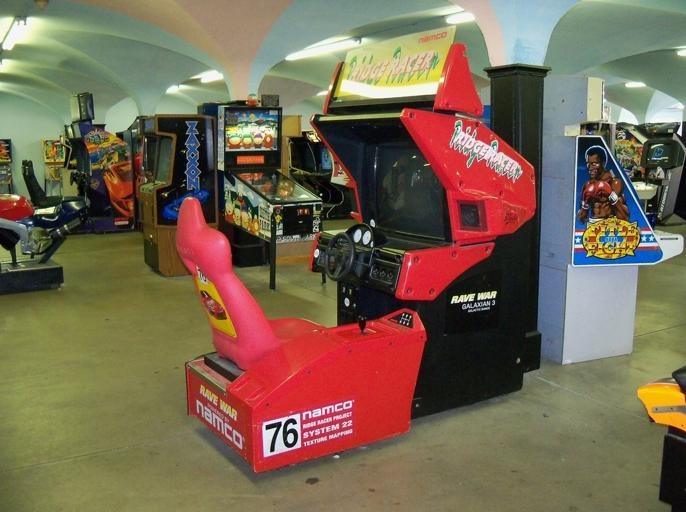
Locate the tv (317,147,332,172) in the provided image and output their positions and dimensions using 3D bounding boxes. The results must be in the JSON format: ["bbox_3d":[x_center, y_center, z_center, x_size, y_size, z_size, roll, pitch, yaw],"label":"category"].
[{"bbox_3d":[-0.419,-2.379,12.370,0.275,0.595,0.550,-1,14,-2],"label":"tv"}]

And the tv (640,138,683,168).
[{"bbox_3d":[6.844,-2.237,11.048,0.384,0.634,0.730,2,3,-30],"label":"tv"}]

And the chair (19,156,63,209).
[{"bbox_3d":[-4.246,-1.051,7.354,0.616,0.695,0.426,-5,24,-38],"label":"chair"}]

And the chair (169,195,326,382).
[{"bbox_3d":[-0.514,0.138,3.152,0.902,1.034,0.641,-7,12,-28],"label":"chair"}]

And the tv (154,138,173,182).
[{"bbox_3d":[-2.531,-1.375,7.206,0.224,0.591,0.447,-7,15,-25],"label":"tv"}]

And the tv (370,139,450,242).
[{"bbox_3d":[0.450,-0.443,3.343,0.211,0.556,0.593,-11,17,-38],"label":"tv"}]
